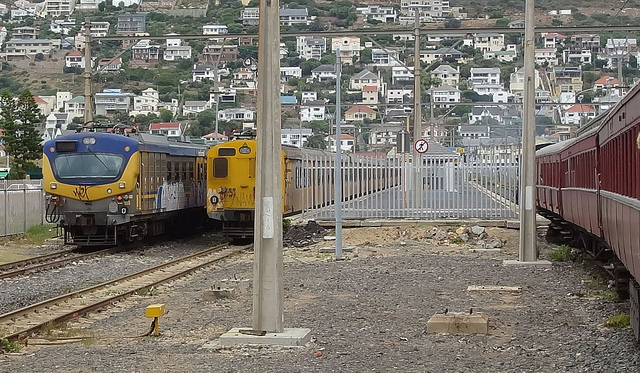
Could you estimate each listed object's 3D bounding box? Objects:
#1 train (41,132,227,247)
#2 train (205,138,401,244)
[{"bbox_3d":[-7.914,-0.041,34.654,3.608,3.962,13.769,0,1,10],"label":"train"},{"bbox_3d":[-1.022,-0.440,38.122,2.333,2.863,16.927,0,2,16],"label":"train"}]
